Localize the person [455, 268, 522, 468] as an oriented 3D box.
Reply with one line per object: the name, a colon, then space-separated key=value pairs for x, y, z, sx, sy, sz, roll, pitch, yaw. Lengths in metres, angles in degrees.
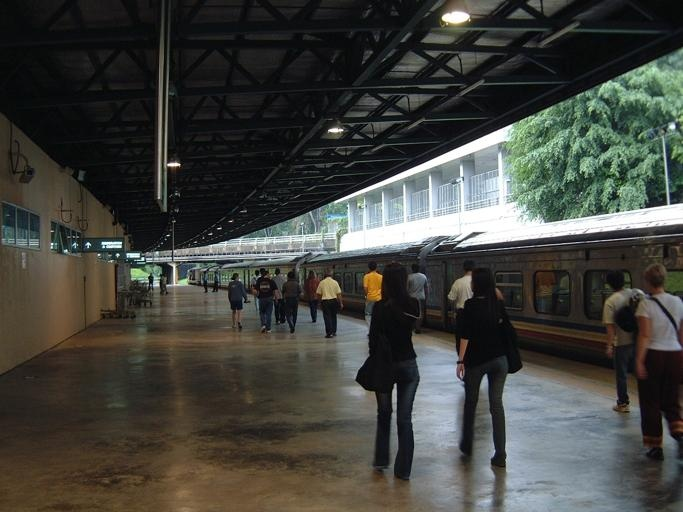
person: x=1.674 y=1.235 z=5.745 sx=0.674 sy=2.193 sz=0.398 roll=0 pitch=-2 yaw=17

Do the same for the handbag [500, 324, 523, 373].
handbag: x=2.004 y=1.079 z=5.930 sx=0.185 sy=0.679 sz=0.634 roll=0 pitch=-2 yaw=20

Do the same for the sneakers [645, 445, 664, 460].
sneakers: x=3.508 y=2.201 z=5.693 sx=0.085 sy=0.104 sz=0.233 roll=0 pitch=2 yaw=0

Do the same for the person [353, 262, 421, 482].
person: x=0.516 y=1.207 z=5.502 sx=0.619 sy=2.271 sz=0.459 roll=0 pitch=-2 yaw=9

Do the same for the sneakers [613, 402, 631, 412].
sneakers: x=4.101 y=2.216 z=7.409 sx=0.091 sy=0.114 sz=0.259 roll=1 pitch=1 yaw=-6
